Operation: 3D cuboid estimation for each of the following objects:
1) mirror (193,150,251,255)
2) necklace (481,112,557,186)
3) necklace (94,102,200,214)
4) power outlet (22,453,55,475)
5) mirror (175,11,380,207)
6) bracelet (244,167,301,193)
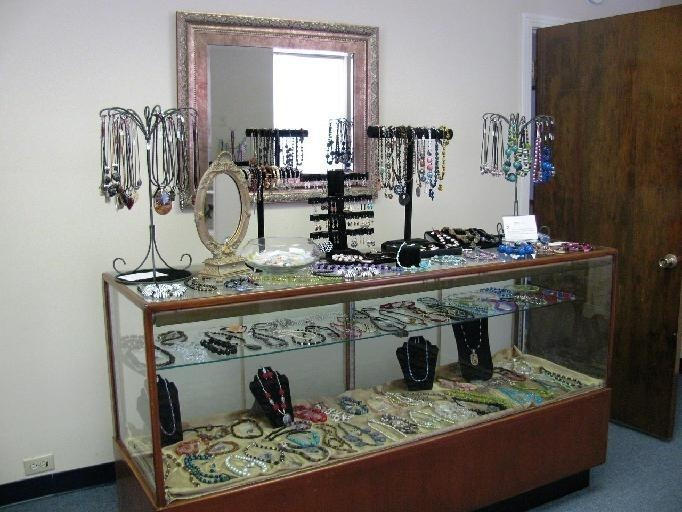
[{"bbox_3d":[-0.572,-0.247,2.738,0.311,0.503,0.101,-15,20,-42],"label":"mirror"},{"bbox_3d":[1.169,-0.697,3.826,0.452,0.533,1.081,3,16,15],"label":"necklace"},{"bbox_3d":[-0.998,-0.486,2.980,0.486,0.604,0.819,-5,15,-13],"label":"necklace"},{"bbox_3d":[-1.792,1.225,3.315,0.148,0.101,0.020,-5,2,-30],"label":"power outlet"},{"bbox_3d":[-0.430,-0.913,3.395,1.386,1.135,0.054,-2,5,-26],"label":"mirror"},{"bbox_3d":[-0.319,-0.418,3.077,0.461,0.151,0.128,-9,6,-39],"label":"bracelet"}]
